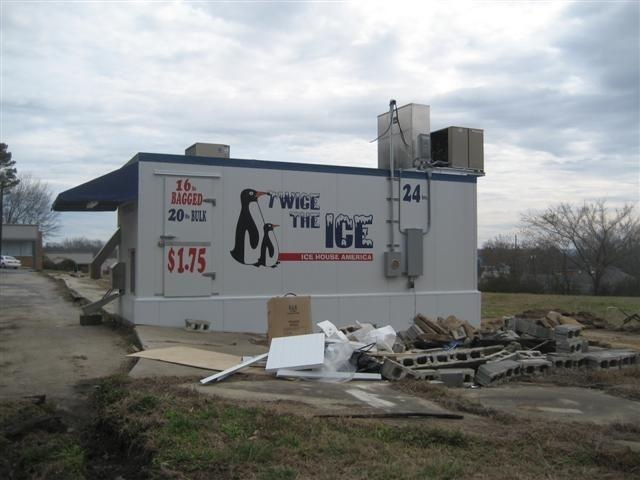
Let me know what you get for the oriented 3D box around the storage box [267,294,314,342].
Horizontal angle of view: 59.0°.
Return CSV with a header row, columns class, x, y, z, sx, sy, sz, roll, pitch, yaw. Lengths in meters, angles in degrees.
class,x,y,z,sx,sy,sz,roll,pitch,yaw
storage box,-0.800,1.805,14.057,1.169,1.672,0.993,0,-2,-21
